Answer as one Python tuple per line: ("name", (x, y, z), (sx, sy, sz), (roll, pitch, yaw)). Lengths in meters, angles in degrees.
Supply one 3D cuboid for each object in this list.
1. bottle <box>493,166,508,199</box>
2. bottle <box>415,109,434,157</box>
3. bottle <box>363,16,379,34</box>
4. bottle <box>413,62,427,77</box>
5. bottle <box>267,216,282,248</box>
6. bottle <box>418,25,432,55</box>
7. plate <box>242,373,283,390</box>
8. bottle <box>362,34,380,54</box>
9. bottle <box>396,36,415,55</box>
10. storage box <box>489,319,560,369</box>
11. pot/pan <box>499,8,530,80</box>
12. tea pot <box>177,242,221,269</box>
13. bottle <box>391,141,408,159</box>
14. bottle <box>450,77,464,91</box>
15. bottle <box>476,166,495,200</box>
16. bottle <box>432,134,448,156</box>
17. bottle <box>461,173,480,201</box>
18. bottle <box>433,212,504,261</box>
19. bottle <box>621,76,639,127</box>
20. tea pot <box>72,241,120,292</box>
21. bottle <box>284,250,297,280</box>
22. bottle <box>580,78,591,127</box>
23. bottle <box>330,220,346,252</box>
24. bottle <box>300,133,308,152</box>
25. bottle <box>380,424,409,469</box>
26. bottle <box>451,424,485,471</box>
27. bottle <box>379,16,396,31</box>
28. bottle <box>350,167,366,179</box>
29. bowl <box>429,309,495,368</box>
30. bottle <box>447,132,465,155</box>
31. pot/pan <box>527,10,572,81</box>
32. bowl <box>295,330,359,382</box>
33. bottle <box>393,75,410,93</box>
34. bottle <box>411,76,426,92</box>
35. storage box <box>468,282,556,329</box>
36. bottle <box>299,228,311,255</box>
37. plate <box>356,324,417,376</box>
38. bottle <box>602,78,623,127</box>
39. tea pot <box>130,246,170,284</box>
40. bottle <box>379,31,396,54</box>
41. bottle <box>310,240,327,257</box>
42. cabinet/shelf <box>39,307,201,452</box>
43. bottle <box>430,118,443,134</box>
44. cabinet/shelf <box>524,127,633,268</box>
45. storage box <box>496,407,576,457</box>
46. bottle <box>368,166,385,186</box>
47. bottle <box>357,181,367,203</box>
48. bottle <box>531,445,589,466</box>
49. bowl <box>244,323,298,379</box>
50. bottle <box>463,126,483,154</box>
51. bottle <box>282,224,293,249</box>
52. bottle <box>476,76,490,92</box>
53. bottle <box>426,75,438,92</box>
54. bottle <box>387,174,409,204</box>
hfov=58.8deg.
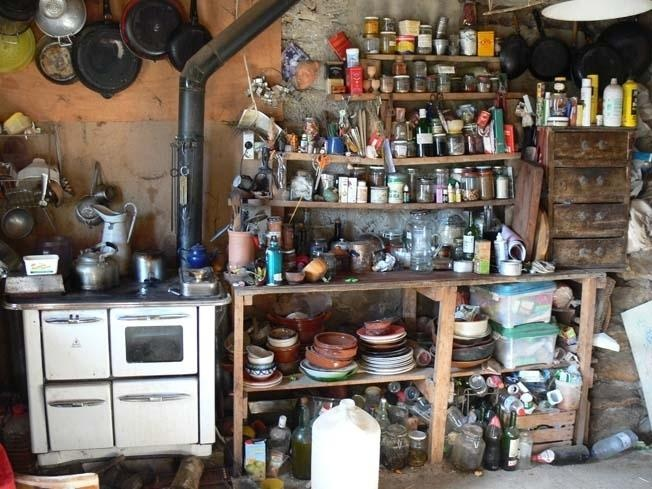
("bottle", (1.216, -0.427, 4.019), (0.101, 0.225, 0.083), (-4, 3, 1))
("bottle", (0.660, -0.748, 3.912), (0.113, 0.318, 0.076), (-3, 3, 12))
("bottle", (0.298, -1.432, 3.818), (0.114, 0.105, 0.101), (5, 11, 29))
("bottle", (0.614, -1.182, 3.929), (0.098, 0.101, 0.096), (-2, 13, -7))
("bottle", (-0.329, -0.082, 3.753), (0.091, 0.195, 0.190), (-4, 3, 7))
("bottle", (0.673, -1.386, 3.924), (0.122, 0.172, 0.118), (-1, 19, 0))
("plate", (-0.385, 0.842, 3.586), (0.240, 0.078, 0.104), (-4, 4, -8))
("bottle", (0.294, -1.330, 3.862), (0.111, 0.104, 0.109), (-2, 14, -2))
("bottle", (0.526, -1.318, 3.854), (0.120, 0.101, 0.113), (-4, 13, -15))
("storage box", (1.367, 0.641, 4.119), (0.423, 0.296, 0.515), (-6, 13, -10))
("pot/pan", (1.288, -1.370, 3.983), (0.256, 0.404, 0.063), (-9, 5, -39))
("tea pot", (-0.811, 0.064, 3.684), (0.236, 0.157, 0.156), (2, 13, 4))
("bottle", (0.492, -0.640, 3.928), (0.107, 0.096, 0.104), (-1, 7, -1))
("bottle", (0.901, -1.097, 3.998), (0.101, 0.092, 0.099), (-1, 13, -1))
("bottle", (1.097, -0.423, 4.023), (0.173, 0.220, 0.168), (-3, 7, 0))
("bottle", (0.770, -0.669, 3.913), (0.095, 0.150, 0.046), (-4, 3, 5))
("bottle", (0.987, -0.392, 3.963), (0.116, 0.190, 0.062), (-3, 4, 13))
("bottle", (0.987, -0.089, 4.069), (0.475, 0.325, 0.323), (-3, 4, 5))
("bottle", (2.049, -0.939, 3.907), (0.184, 0.319, 0.082), (-7, 4, -38))
("tea pot", (-1.408, 0.122, 3.537), (0.260, 0.264, 0.257), (1, 10, 0))
("bottle", (-0.230, 0.103, 3.707), (0.081, 0.135, 0.149), (-4, 4, -2))
("bottle", (1.714, -0.932, 3.835), (0.072, 0.313, 0.043), (-3, 4, 17))
("bottle", (0.076, -0.070, 3.965), (0.105, 0.203, 0.211), (-4, 3, 1))
("bottle", (-0.149, -0.665, 3.820), (0.045, 0.132, 0.053), (-5, 4, -18))
("bottle", (0.437, 1.307, 3.737), (0.178, 0.273, 0.273), (0, -1, -4))
("bottle", (0.929, 1.328, 3.843), (0.207, 0.258, 0.250), (7, 10, -19))
("bottle", (0.414, -1.470, 3.895), (0.078, 0.121, 0.118), (-2, 4, 34))
("bottle", (0.218, -0.489, 3.953), (0.091, 0.086, 0.091), (2, 9, 21))
("bowl", (0.936, 0.606, 3.815), (0.355, 0.208, 0.389), (-1, 6, 0))
("bottle", (0.873, -0.672, 3.916), (0.137, 0.135, 0.132), (0, 7, 6))
("pot/pan", (1.525, -1.340, 4.019), (0.300, 0.468, 0.066), (-25, 6, -4))
("bowl", (0.020, 0.700, 3.690), (0.255, 0.144, 0.321), (1, 8, -5))
("bottle", (0.505, -1.069, 3.877), (0.113, 0.103, 0.110), (1, 14, 6))
("bottle", (0.625, -1.076, 3.902), (0.098, 0.088, 0.096), (-1, 10, -5))
("storage box", (1.277, 0.396, 4.107), (0.426, 0.275, 0.511), (-3, 3, -17))
("bottle", (-0.149, -0.015, 3.970), (0.080, 0.192, 0.118), (-4, 3, -1))
("plate", (0.374, 0.695, 3.745), (0.304, 0.137, 0.314), (0, 5, 32))
("bottle", (1.907, -0.932, 3.846), (0.142, 0.306, 0.133), (-4, 3, 0))
("tea pot", (-1.117, 0.128, 3.673), (0.208, 0.192, 0.210), (3, 16, -1))
("bottle", (0.412, -1.342, 3.864), (0.134, 0.136, 0.130), (-2, 13, -9))
("bottle", (-0.046, 0.025, 3.804), (0.107, 0.160, 0.112), (1, -1, 0))
("cabinet/shelf", (-1.194, 0.792, 3.532), (0.892, 0.824, 0.670), (-5, -6, 5))
("bottle", (0.746, -0.797, 3.913), (0.093, 0.099, 0.091), (-9, 10, 12))
("cabinet/shelf", (1.754, -0.316, 4.118), (0.712, 0.937, 0.682), (1, 7, 25))
("storage box", (1.501, 1.243, 3.961), (0.360, 0.215, 0.353), (-1, -2, -3))
("bottle", (0.344, -0.457, 3.916), (0.129, 0.133, 0.126), (-1, 5, -10))
("bottle", (0.247, -0.345, 3.869), (0.089, 0.150, 0.044), (-7, 4, -37))
("bottle", (1.528, 1.393, 3.910), (0.442, 0.129, 0.135), (-1, -6, -2))
("bowl", (-0.334, 0.677, 3.671), (0.331, 0.127, 0.219), (-11, 18, -38))
("bottle", (1.008, -0.721, 3.978), (0.129, 0.192, 0.045), (-3, 4, 14))
("bottle", (-0.251, -0.048, 3.769), (0.070, 0.159, 0.072), (-4, 3, 0))
("bottle", (1.069, -1.087, 3.942), (0.106, 0.108, 0.104), (1, 13, 11))
("bottle", (0.718, -1.083, 3.935), (0.070, 0.120, 0.028), (-6, 4, -25))
("bottle", (0.480, -0.373, 3.930), (0.134, 0.186, 0.129), (0, 8, 0))
